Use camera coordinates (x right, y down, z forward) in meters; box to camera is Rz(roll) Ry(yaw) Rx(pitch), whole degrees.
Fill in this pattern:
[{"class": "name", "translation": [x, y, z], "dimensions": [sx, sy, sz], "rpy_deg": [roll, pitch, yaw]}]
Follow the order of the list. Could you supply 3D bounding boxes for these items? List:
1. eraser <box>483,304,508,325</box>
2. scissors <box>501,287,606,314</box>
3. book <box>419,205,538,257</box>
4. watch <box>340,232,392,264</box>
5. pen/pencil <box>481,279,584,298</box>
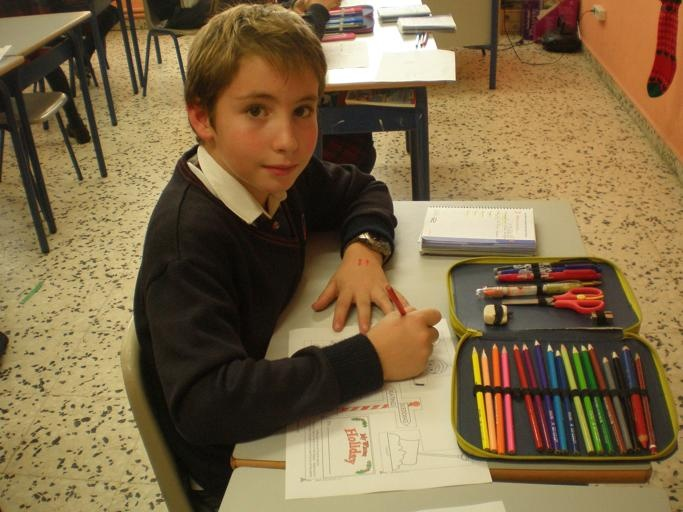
[{"class": "eraser", "translation": [0.321, 0.121, 1.223], "dimensions": [0.041, 0.015, 0.042], "rpy_deg": [2, 58, 4]}, {"class": "scissors", "translation": [0.441, 0.094, 1.245], "dimensions": [0.206, 0.023, 0.078], "rpy_deg": [-3, 65, 8]}, {"class": "book", "translation": [0.336, -0.063, 1.437], "dimensions": [0.201, 0.056, 0.147], "rpy_deg": [3, 35, 9]}, {"class": "watch", "translation": [0.059, -0.027, 1.476], "dimensions": [0.095, 0.089, 0.061], "rpy_deg": [38, 29, -13]}, {"class": "pen/pencil", "translation": [0.425, 0.071, 1.279], "dimensions": [0.169, 0.029, 0.019], "rpy_deg": [-2, 74, 0]}]
